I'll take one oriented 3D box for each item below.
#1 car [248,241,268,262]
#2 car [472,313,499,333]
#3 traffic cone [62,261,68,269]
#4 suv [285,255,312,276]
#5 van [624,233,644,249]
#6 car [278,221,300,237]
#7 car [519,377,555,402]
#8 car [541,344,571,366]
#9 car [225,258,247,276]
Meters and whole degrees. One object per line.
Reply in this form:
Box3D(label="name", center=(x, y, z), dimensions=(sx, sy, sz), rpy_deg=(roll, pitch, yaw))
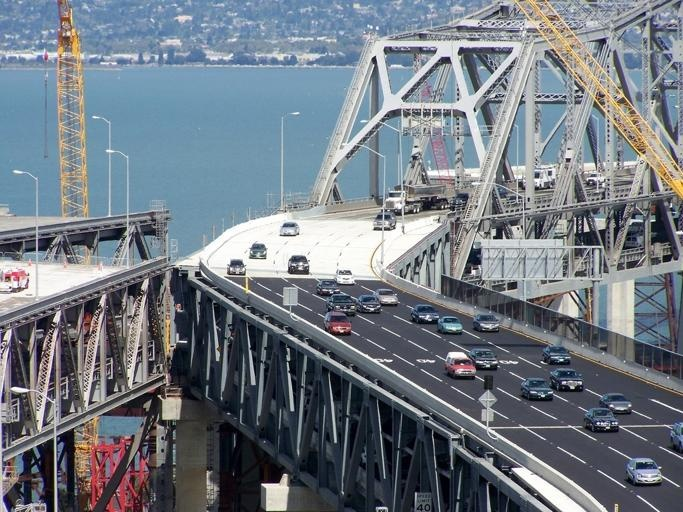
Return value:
Box3D(label="car", center=(-8.768, -0.760, 195.013), dimensions=(1.821, 1.480, 2.789), rpy_deg=(-1, 7, -3))
Box3D(label="car", center=(13.688, 6.094, 174.403), dimensions=(2.423, 1.557, 2.141), rpy_deg=(-1, 6, -10))
Box3D(label="traffic cone", center=(-27.361, 0.607, 182.556), dimensions=(0.545, 1.166, 0.546), rpy_deg=(2, 3, 2))
Box3D(label="suv", center=(-4.409, 0.752, 189.438), dimensions=(1.766, 1.746, 3.743), rpy_deg=(0, -1, -3))
Box3D(label="van", center=(37.597, -2.553, 236.435), dimensions=(1.928, 2.273, 2.024), rpy_deg=(3, 9, 29))
Box3D(label="car", center=(-5.782, -3.263, 206.289), dimensions=(2.161, 1.412, 3.070), rpy_deg=(0, 7, 1))
Box3D(label="car", center=(16.896, 11.374, 159.602), dimensions=(2.646, 1.774, 1.240), rpy_deg=(0, 6, 6))
Box3D(label="car", center=(19.430, 8.767, 166.952), dimensions=(2.285, 1.536, 1.551), rpy_deg=(-2, 6, -14))
Box3D(label="car", center=(-10.536, 0.914, 185.594), dimensions=(1.768, 1.497, 2.261), rpy_deg=(-1, 6, -7))
